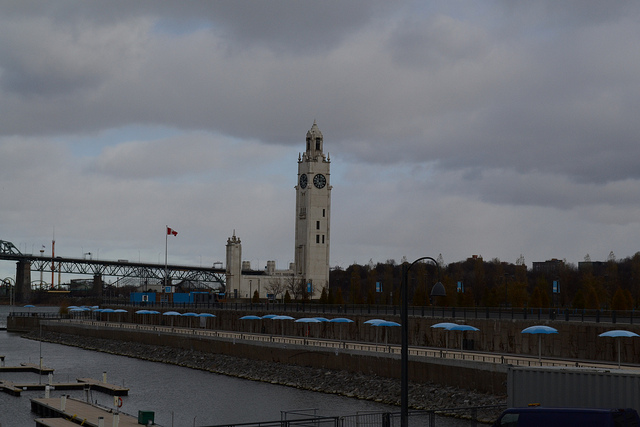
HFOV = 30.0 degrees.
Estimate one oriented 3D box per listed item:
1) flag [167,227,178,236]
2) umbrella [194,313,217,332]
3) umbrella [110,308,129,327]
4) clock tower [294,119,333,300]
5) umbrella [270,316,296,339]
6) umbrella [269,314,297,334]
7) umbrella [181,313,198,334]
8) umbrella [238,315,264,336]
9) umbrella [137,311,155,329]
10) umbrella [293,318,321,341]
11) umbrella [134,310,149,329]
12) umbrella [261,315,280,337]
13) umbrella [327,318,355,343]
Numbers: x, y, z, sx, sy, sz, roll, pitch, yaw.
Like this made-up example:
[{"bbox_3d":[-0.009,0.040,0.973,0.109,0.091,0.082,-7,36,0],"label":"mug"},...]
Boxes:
[{"bbox_3d":[-20.260,2.455,161.532,1.262,1.400,0.180,2,-5,-10],"label":"flag"},{"bbox_3d":[-17.788,16.980,185.487,2.684,2.787,2.820,0,-7,-11],"label":"umbrella"},{"bbox_3d":[-35.861,18.556,213.307,2.891,3.343,3.069,0,-9,1],"label":"umbrella"},{"bbox_3d":[-0.822,-1.637,233.504,7.337,30.287,7.359,1,4,15],"label":"clock tower"},{"bbox_3d":[-5.268,16.013,167.857,2.748,2.844,2.745,3,-7,-39],"label":"umbrella"},{"bbox_3d":[-5.474,15.712,165.170,2.775,2.955,2.937,1,-4,-2],"label":"umbrella"},{"bbox_3d":[-20.560,17.250,187.739,2.550,3.291,2.711,-2,-10,2],"label":"umbrella"},{"bbox_3d":[-10.093,16.412,174.160,2.611,2.892,2.770,0,-10,-3],"label":"umbrella"},{"bbox_3d":[-29.453,17.970,202.141,2.847,2.908,2.916,5,-8,-28],"label":"umbrella"},{"bbox_3d":[-1.791,15.987,164.049,2.504,2.657,2.645,-1,-6,-7],"label":"umbrella"},{"bbox_3d":[-30.395,18.092,203.478,2.666,3.245,2.835,-2,-12,0],"label":"umbrella"},{"bbox_3d":[-7.191,16.076,170.397,2.608,2.991,2.719,1,-9,-19],"label":"umbrella"},{"bbox_3d":[2.639,15.719,158.860,3.146,3.269,3.322,-2,-3,15],"label":"umbrella"}]
